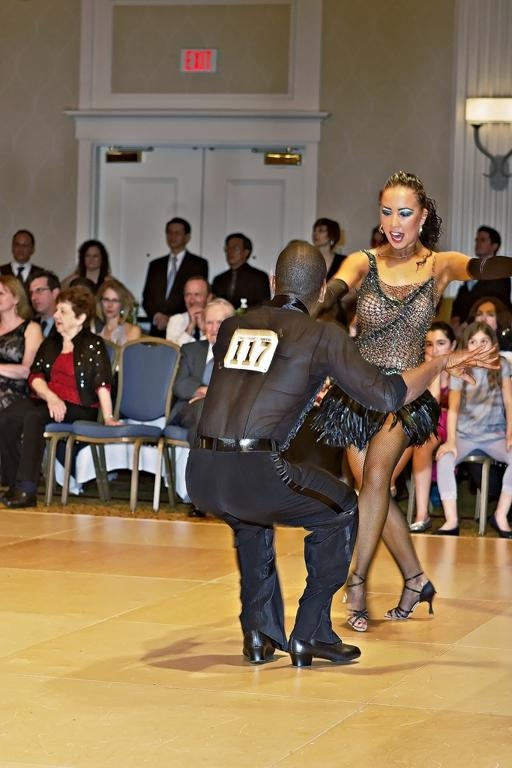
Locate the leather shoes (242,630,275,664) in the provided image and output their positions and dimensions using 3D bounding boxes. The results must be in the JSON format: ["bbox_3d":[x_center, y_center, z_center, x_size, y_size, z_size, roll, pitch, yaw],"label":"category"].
[{"bbox_3d":[0.012,0.708,1.875,0.057,0.054,0.128,-2,11,-5],"label":"leather shoes"}]

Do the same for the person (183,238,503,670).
[{"bbox_3d":[0.142,0.203,1.895,0.791,1.049,0.706,7,9,34],"label":"person"}]

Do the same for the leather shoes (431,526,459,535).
[{"bbox_3d":[1.157,0.891,4.267,0.168,0.056,0.053,3,-5,-5],"label":"leather shoes"}]

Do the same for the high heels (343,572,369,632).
[{"bbox_3d":[0.337,0.723,2.318,0.064,0.049,0.204,-4,31,-3],"label":"high heels"}]

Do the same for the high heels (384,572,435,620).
[{"bbox_3d":[0.510,0.771,2.548,0.241,0.157,0.108,-7,0,-1],"label":"high heels"}]

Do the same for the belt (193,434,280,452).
[{"bbox_3d":[-0.060,0.146,1.683,0.212,0.038,0.080,-3,-8,29],"label":"belt"}]
